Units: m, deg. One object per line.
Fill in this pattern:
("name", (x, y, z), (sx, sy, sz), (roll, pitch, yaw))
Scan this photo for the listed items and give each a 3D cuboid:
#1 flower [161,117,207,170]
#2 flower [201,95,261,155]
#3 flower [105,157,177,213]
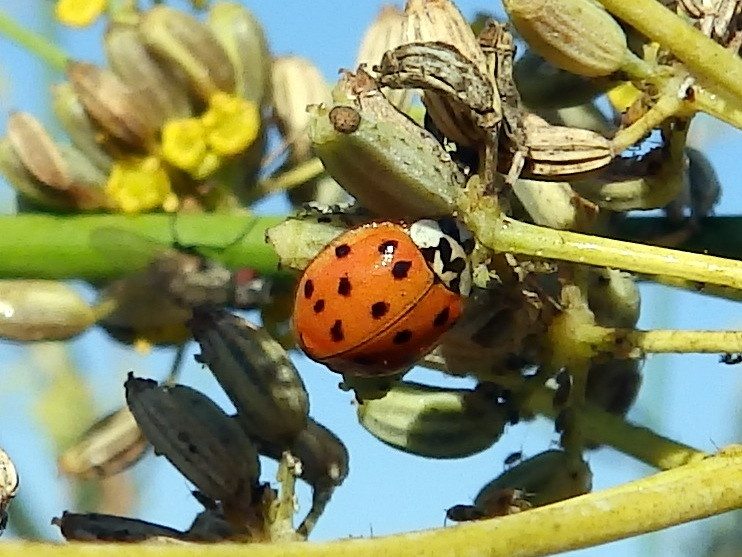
("flower", (-0.294, -0.208, 3.113), (0.072, 0.066, 0.050), (-13, 26, -4))
("flower", (-0.220, -0.244, 3.131), (0.088, 0.090, 0.067), (-12, 26, -1))
("flower", (-0.363, -0.144, 3.104), (0.103, 0.084, 0.047), (-14, 26, -7))
